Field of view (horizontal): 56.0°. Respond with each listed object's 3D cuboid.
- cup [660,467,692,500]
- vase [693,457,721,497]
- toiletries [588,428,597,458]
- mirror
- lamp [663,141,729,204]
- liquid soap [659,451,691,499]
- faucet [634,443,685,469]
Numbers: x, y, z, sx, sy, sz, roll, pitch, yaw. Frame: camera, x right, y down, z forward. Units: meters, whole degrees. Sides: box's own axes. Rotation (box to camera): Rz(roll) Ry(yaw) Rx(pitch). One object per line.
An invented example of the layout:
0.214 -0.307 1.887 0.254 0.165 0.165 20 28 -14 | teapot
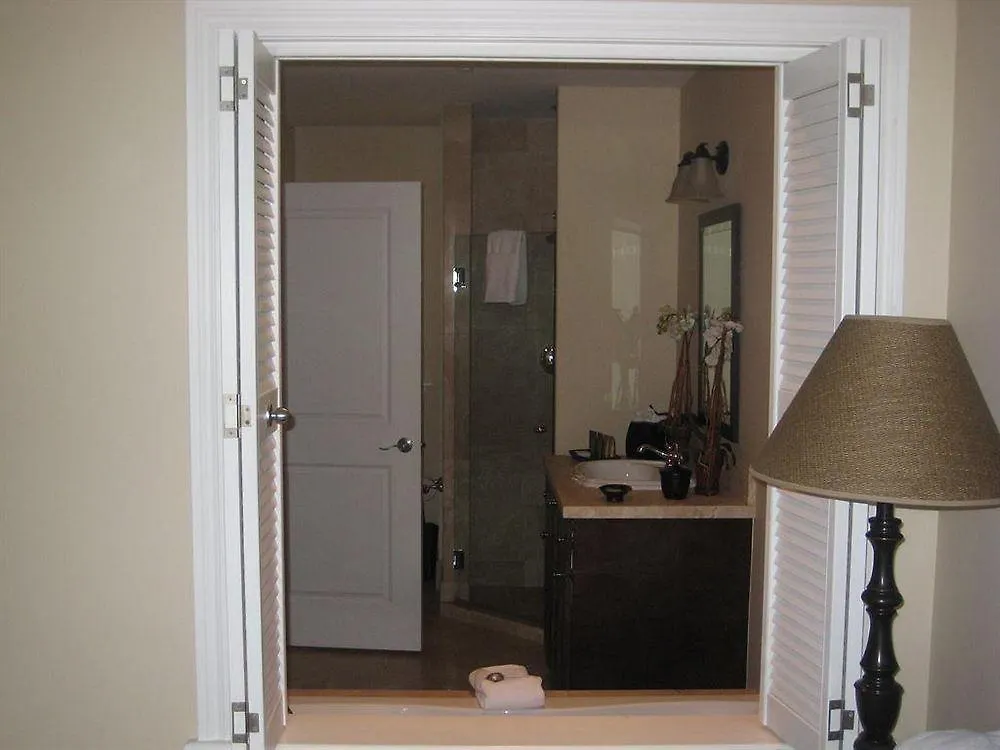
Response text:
0.694 0.425 3.694 0.108 0.138 0.117 -1 -3 0 | cup
0.833 0.410 3.804 0.109 0.143 0.126 5 11 23 | vase
0.435 0.325 4.397 0.034 0.108 0.104 0 2 -7 | toiletries
0.936 -0.228 4.009 0.167 0.978 0.590 0 4 12 | mirror
0.859 -0.880 4.037 0.244 0.263 0.245 1 4 14 | lamp
0.670 0.395 3.739 0.145 0.203 0.146 4 -9 -31 | liquid soap
0.637 0.333 3.887 0.241 0.120 0.086 1 0 24 | faucet
